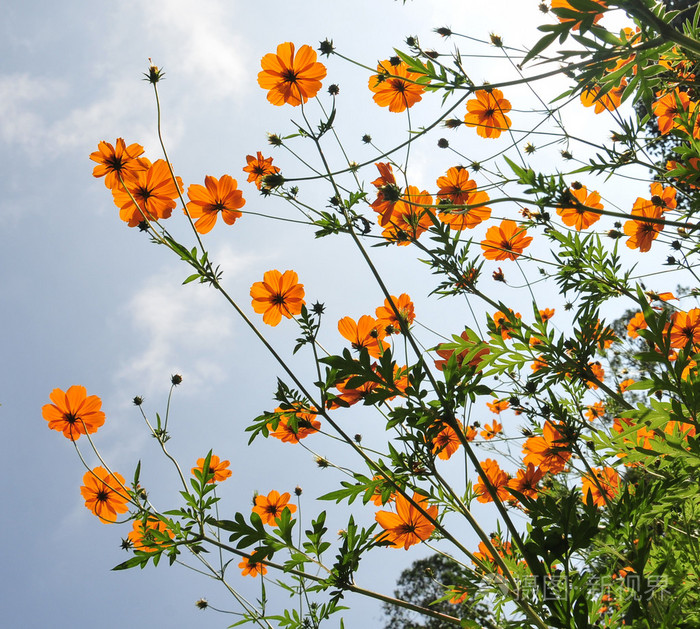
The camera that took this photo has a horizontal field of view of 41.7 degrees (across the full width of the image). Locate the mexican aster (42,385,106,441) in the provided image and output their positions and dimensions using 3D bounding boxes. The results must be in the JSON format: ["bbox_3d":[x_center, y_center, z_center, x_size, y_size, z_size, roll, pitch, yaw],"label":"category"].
[{"bbox_3d":[-1.304,0.464,4.334,0.263,0.153,0.199,-10,-58,-14],"label":"mexican aster"}]
